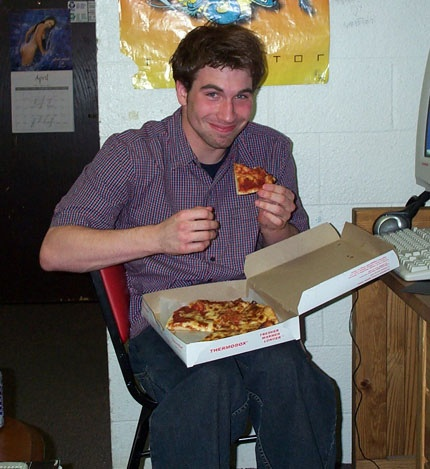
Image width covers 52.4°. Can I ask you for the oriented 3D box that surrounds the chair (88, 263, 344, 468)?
[{"bbox_3d":[0.067,0.326,1.493,0.699,0.946,0.560,-8,33,-4],"label":"chair"}]

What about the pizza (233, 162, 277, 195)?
[{"bbox_3d":[0.107,-0.205,1.453,0.148,0.136,0.020,-20,47,32],"label":"pizza"}]
